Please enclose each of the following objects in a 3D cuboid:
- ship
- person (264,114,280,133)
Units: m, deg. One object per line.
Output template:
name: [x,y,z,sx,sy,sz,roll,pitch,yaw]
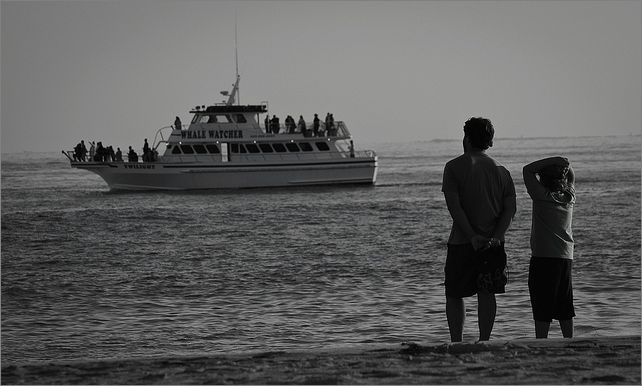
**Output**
ship: [-6.761,-2.737,61.962,21.264,8.975,5.349,0,1,-4]
person: [-2.385,-3.340,59.035,0.697,0.831,0.687,-2,9,0]
